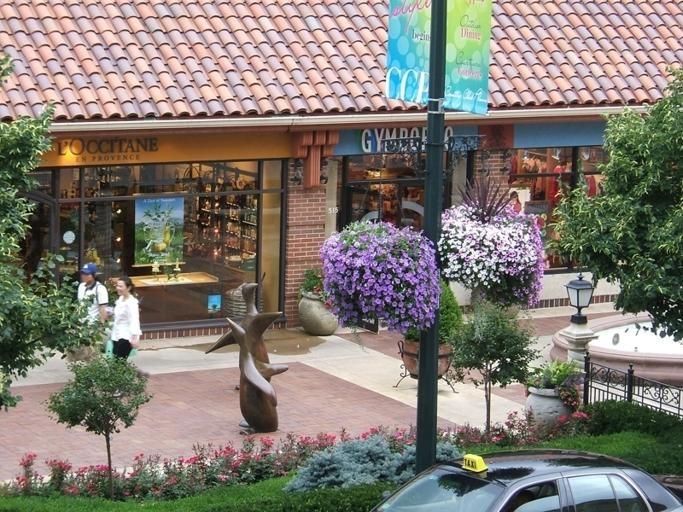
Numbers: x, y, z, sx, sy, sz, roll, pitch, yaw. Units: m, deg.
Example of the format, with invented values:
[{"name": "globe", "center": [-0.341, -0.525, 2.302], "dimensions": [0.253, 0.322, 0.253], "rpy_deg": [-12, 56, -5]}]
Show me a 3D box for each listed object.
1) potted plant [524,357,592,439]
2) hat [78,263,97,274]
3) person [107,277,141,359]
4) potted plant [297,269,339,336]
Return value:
[{"name": "potted plant", "center": [3.258, 2.396, 20.567], "dimensions": [0.951, 1.162, 0.891], "rpy_deg": [5, -3, 29]}, {"name": "hat", "center": [-4.461, 0.275, 21.816], "dimensions": [0.335, 0.189, 0.232], "rpy_deg": [8, 17, -19]}, {"name": "person", "center": [-3.757, 1.051, 21.279], "dimensions": [0.579, 1.403, 0.421], "rpy_deg": [3, 10, 25]}, {"name": "potted plant", "center": [-0.476, 1.027, 26.006], "dimensions": [0.836, 1.145, 0.827], "rpy_deg": [-6, 11, -34]}]
